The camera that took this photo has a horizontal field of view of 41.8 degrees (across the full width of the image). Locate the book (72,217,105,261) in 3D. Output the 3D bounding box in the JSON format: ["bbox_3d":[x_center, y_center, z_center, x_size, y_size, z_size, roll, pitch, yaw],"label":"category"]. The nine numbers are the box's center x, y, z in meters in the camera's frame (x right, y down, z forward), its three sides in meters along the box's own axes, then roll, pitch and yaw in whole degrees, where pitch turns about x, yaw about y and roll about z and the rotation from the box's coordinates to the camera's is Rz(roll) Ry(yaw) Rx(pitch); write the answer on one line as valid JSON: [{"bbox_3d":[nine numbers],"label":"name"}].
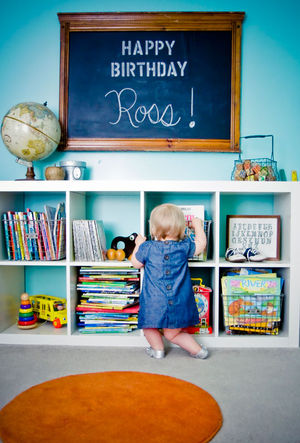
[{"bbox_3d":[-0.285,0.071,1.795,0.131,0.192,0.057,-2,4,1],"label":"book"}]

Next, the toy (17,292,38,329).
[{"bbox_3d":[-0.600,0.422,1.898,0.087,0.167,0.086,-3,10,-10],"label":"toy"}]

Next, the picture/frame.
[{"bbox_3d":[0.493,0.078,1.866,0.198,0.190,0.016,0,-7,2],"label":"picture/frame"}]

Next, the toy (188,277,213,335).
[{"bbox_3d":[0.247,0.394,1.879,0.146,0.251,0.139,-7,-14,32],"label":"toy"}]

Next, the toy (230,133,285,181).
[{"bbox_3d":[0.524,-0.321,1.993,0.198,0.256,0.137,2,-2,28],"label":"toy"}]

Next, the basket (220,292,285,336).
[{"bbox_3d":[0.463,0.419,1.794,0.190,0.130,0.200,-1,-6,6],"label":"basket"}]

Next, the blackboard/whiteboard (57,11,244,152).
[{"bbox_3d":[0.040,-0.740,2.022,0.663,0.521,0.061,0,3,0],"label":"blackboard/whiteboard"}]

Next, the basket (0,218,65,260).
[{"bbox_3d":[-0.546,0.085,1.829,0.300,0.235,0.182,0,-2,5],"label":"basket"}]

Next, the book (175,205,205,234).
[{"bbox_3d":[0.204,-0.010,1.872,0.113,0.132,0.029,-1,-3,-8],"label":"book"}]

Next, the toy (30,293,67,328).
[{"bbox_3d":[-0.497,0.435,1.991,0.200,0.114,0.120,9,7,33],"label":"toy"}]

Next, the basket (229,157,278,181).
[{"bbox_3d":[0.515,-0.257,1.919,0.235,0.119,0.319,1,1,11],"label":"basket"}]

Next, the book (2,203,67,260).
[{"bbox_3d":[-0.547,0.051,1.962,0.282,0.308,0.221,-1,1,1],"label":"book"}]
